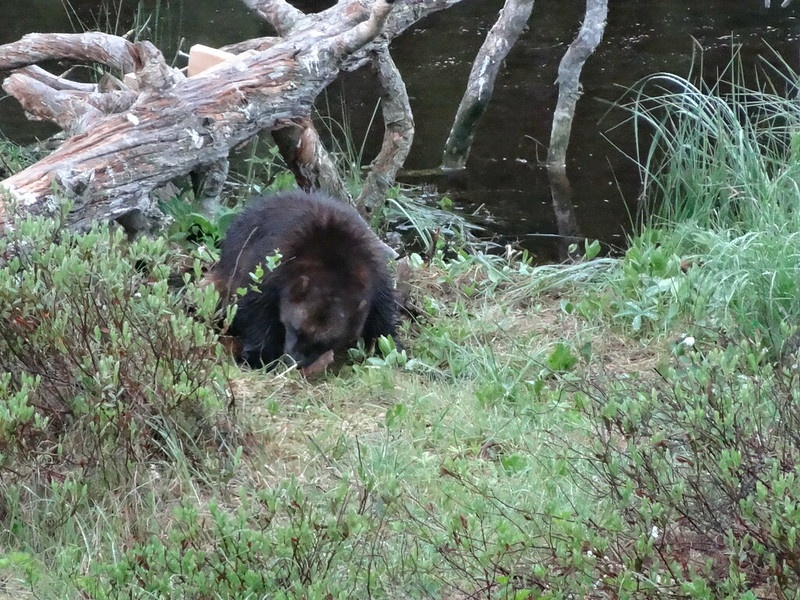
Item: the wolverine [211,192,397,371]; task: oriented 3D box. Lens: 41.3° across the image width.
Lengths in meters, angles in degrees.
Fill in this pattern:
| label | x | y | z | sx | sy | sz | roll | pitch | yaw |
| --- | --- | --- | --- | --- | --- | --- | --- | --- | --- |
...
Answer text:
| label | x | y | z | sx | sy | sz | roll | pitch | yaw |
| --- | --- | --- | --- | --- | --- | --- | --- | --- | --- |
| wolverine | -0.621 | -0.092 | 7.147 | 0.961 | 1.048 | 1.775 | 12 | 23 | -20 |
